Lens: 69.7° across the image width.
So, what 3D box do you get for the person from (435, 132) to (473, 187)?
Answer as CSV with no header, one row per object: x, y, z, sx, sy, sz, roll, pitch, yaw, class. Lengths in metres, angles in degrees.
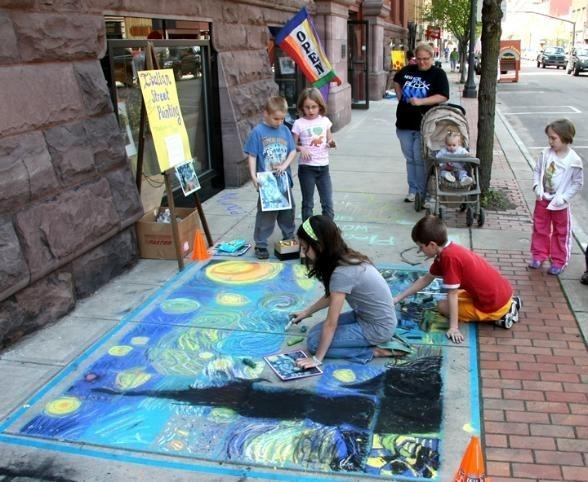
2.460,-1.271,6.462,0.677,0.887,0.835,-4,14,4,person

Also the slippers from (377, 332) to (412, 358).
0.831,0.880,3.536,0.211,0.084,0.204,-6,10,-10,slippers

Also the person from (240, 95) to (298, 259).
-0.291,-0.835,5.530,0.620,2.000,0.937,-1,23,3,person

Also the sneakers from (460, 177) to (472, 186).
2.558,-0.874,6.303,0.190,0.085,0.177,-11,23,13,sneakers

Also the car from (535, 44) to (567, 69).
30.793,-21.928,50.226,2.926,2.573,4.875,10,25,25,car

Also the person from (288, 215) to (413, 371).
0.393,0.267,3.712,1.209,1.309,0.890,5,29,20,person

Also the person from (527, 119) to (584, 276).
3.006,-0.504,4.859,0.555,1.709,0.606,15,29,35,person

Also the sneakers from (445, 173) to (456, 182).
2.343,-0.947,6.382,0.179,0.070,0.099,46,60,7,sneakers

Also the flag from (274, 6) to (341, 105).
0.236,-3.989,8.676,0.722,1.543,1.294,-14,25,-25,flag

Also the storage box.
-1.621,-0.094,5.616,0.716,0.499,0.710,6,20,13,storage box

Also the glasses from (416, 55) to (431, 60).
2.089,-2.933,6.757,0.248,0.071,0.154,2,22,8,glasses

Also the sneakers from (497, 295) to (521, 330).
2.037,0.692,3.908,0.189,0.140,0.421,41,45,4,sneakers
